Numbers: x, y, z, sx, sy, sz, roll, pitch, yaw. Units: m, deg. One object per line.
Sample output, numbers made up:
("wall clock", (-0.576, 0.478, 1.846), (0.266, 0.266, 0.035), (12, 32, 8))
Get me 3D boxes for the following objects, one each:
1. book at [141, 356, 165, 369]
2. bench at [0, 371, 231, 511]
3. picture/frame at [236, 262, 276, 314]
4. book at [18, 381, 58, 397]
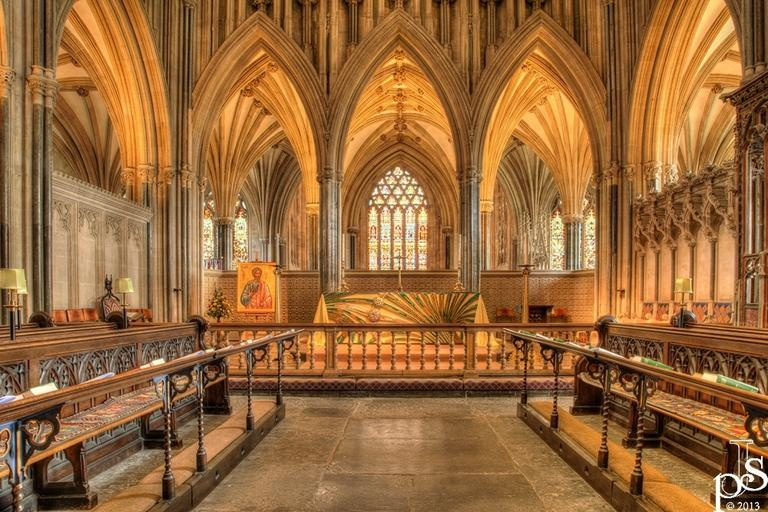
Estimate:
("book", (-2.513, 1.188, 6.601), (0.212, 0.052, 0.957), (-1, -5, -19))
("bench", (-3.169, 2.094, 6.769), (1.580, 1.304, 3.114), (-3, -4, 12))
("picture/frame", (-3.205, 0.829, 15.301), (1.256, 1.695, 0.131), (0, -2, 1))
("book", (-3.473, 1.343, 6.039), (0.240, 0.119, 0.441), (2, 1, 8))
